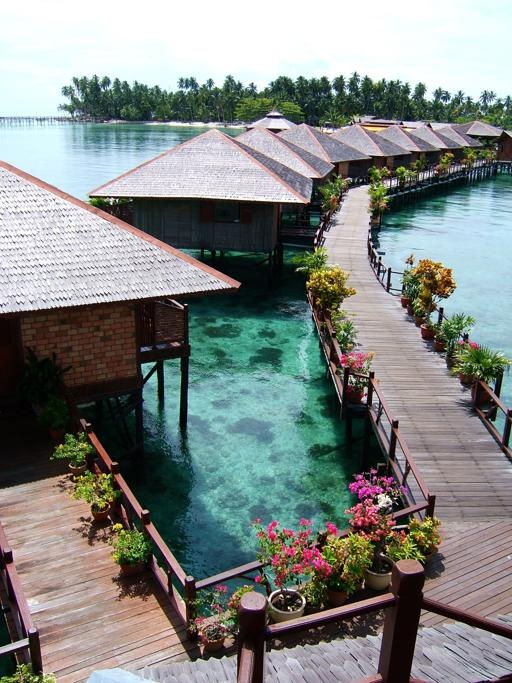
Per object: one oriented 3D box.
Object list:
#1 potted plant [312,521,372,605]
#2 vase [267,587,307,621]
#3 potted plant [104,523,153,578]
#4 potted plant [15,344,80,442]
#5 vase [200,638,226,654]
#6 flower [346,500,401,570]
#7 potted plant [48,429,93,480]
[{"bbox_3d":[1.357,3.323,8.205,0.750,1.004,0.910,-14,-17,-15],"label":"potted plant"},{"bbox_3d":[0.438,3.804,7.777,0.534,0.500,0.517,2,20,2],"label":"vase"},{"bbox_3d":[-1.811,3.124,8.086,0.536,0.550,0.444,-4,21,-13],"label":"potted plant"},{"bbox_3d":[-4.499,1.090,11.764,0.914,1.638,1.644,-9,22,-23],"label":"potted plant"},{"bbox_3d":[-0.533,3.763,6.777,0.224,0.124,0.210,0,15,-5],"label":"vase"},{"bbox_3d":[1.883,2.955,8.652,0.858,1.088,0.812,14,-13,-9],"label":"flower"},{"bbox_3d":[-3.508,2.166,10.511,0.674,0.659,1.002,-12,23,-30],"label":"potted plant"}]
